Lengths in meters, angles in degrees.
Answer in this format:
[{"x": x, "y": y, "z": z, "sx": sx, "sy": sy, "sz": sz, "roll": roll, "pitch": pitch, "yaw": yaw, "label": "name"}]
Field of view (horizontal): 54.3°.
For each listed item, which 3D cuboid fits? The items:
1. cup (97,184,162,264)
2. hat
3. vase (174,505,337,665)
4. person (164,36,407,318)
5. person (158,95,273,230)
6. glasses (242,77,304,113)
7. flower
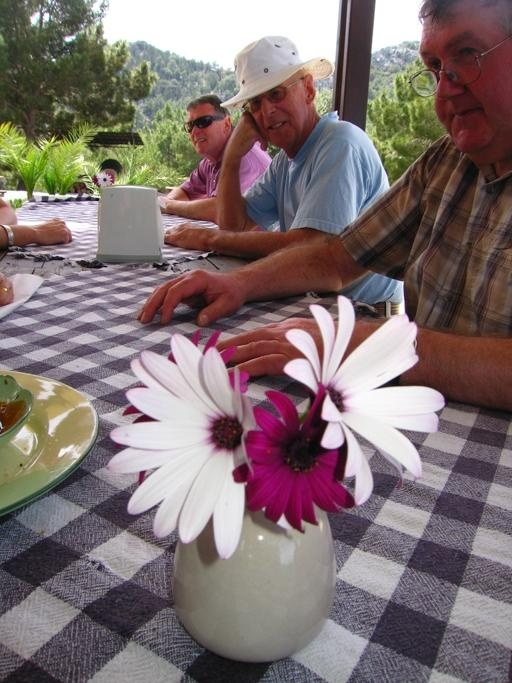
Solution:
[{"x": -0.459, "y": -0.370, "z": 1.558, "sx": 0.211, "sy": 0.231, "sz": 0.263, "roll": 15, "pitch": 18, "yaw": 29, "label": "cup"}, {"x": 0.044, "y": -1.070, "z": 1.994, "sx": 0.358, "sy": 0.179, "sz": 0.339, "roll": -14, "pitch": 22, "yaw": 43, "label": "hat"}, {"x": 0.004, "y": 0.143, "z": 0.310, "sx": 0.083, "sy": 0.082, "sz": 0.082, "roll": 15, "pitch": 6, "yaw": -30, "label": "vase"}, {"x": 0.159, "y": -0.697, "z": 2.094, "sx": 0.793, "sy": 1.046, "sz": 0.942, "roll": 0, "pitch": 21, "yaw": 14, "label": "person"}, {"x": -0.365, "y": -1.286, "z": 3.519, "sx": 0.796, "sy": 0.782, "sz": 0.977, "roll": 4, "pitch": 24, "yaw": 34, "label": "person"}, {"x": 0.076, "y": -0.966, "z": 1.951, "sx": 0.169, "sy": 0.064, "sz": 0.127, "roll": -31, "pitch": 20, "yaw": -12, "label": "glasses"}, {"x": -0.002, "y": 0.044, "z": 0.288, "sx": 0.102, "sy": 0.081, "sz": 0.163, "roll": 19, "pitch": 36, "yaw": 33, "label": "flower"}]
